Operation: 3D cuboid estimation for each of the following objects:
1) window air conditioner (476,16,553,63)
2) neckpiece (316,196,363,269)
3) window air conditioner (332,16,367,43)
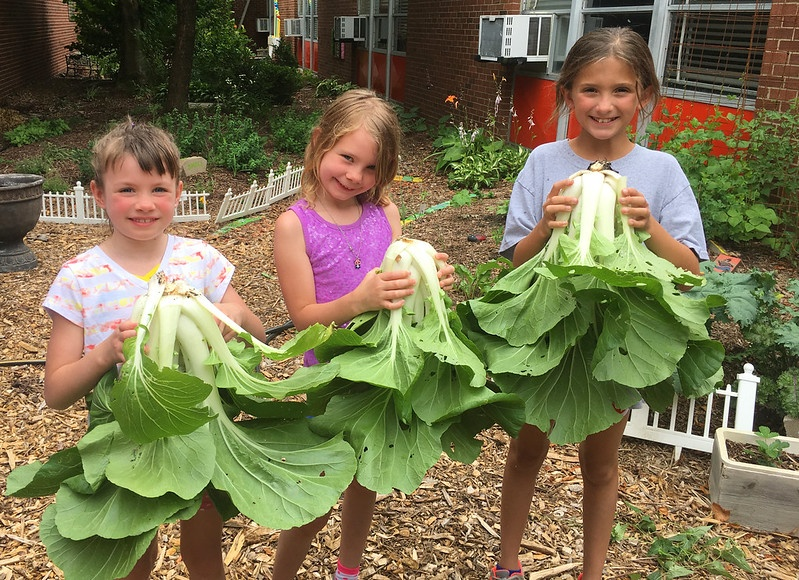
[{"bbox_3d":[2.025,-4.472,9.863,1.109,0.661,1.077,-1,26,-5],"label":"window air conditioner"},{"bbox_3d":[-0.274,-0.276,2.436,0.114,0.020,0.376,-9,61,-45],"label":"neckpiece"},{"bbox_3d":[-1.616,-8.860,19.330,1.027,0.745,1.009,2,19,4],"label":"window air conditioner"}]
